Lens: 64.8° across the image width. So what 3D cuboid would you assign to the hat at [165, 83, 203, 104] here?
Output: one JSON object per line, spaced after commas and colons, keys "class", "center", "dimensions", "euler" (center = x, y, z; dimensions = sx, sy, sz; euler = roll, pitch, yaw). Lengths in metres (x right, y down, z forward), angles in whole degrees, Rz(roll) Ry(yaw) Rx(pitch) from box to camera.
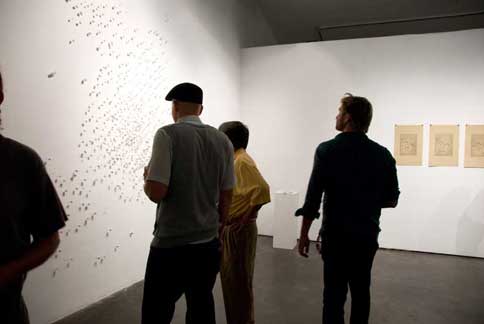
{"class": "hat", "center": [-0.585, -0.702, 3.826], "dimensions": [0.212, 0.159, 0.285], "euler": [-11, 24, -44]}
